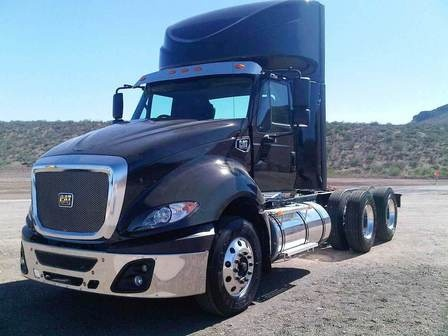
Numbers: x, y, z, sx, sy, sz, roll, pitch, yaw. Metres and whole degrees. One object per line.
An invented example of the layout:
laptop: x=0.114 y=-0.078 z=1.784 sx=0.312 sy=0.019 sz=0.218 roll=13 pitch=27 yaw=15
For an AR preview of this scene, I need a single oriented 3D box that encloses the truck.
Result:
truck: x=0.040 y=-0.009 z=7.683 sx=3.281 sy=4.289 sz=8.059 roll=-3 pitch=-7 yaw=34
